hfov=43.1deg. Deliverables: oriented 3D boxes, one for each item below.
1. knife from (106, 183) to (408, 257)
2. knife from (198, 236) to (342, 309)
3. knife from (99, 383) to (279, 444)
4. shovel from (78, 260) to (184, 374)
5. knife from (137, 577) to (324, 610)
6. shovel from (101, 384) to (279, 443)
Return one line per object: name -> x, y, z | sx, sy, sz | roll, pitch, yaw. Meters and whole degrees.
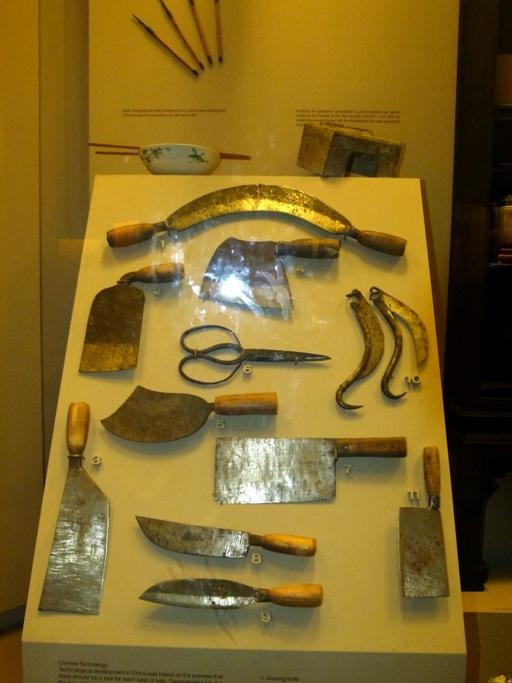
knife -> -0.005, -0.310, 1.827 | 0.830, 0.076, 0.306 | 4, 74, 6
knife -> 0.003, -0.188, 1.642 | 0.276, 0.041, 0.206 | 0, 67, 2
knife -> -0.158, 0.178, 1.554 | 0.390, 0.047, 0.170 | -1, 49, 1
shovel -> -0.313, -0.066, 1.664 | 0.226, 0.049, 0.321 | 4, 60, -4
knife -> -0.056, 0.548, 1.410 | 0.457, 0.093, 0.057 | 0, -3, 0
shovel -> -0.153, 0.176, 1.548 | 0.387, 0.048, 0.171 | -2, 52, 2
